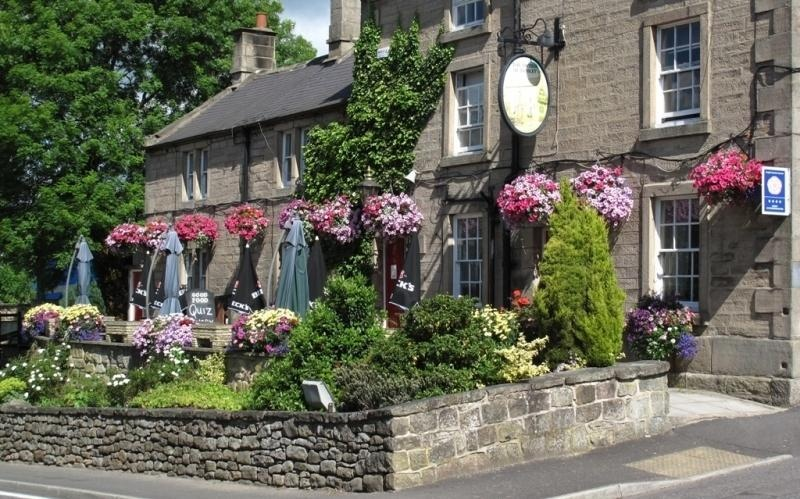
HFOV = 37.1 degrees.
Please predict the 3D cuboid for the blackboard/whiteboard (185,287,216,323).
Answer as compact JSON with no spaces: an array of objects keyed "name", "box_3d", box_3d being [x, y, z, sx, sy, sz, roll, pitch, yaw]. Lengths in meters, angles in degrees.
[{"name":"blackboard/whiteboard","box_3d":[-5.513,1.564,32.808,0.901,1.025,0.059,0,-17,-14]}]
